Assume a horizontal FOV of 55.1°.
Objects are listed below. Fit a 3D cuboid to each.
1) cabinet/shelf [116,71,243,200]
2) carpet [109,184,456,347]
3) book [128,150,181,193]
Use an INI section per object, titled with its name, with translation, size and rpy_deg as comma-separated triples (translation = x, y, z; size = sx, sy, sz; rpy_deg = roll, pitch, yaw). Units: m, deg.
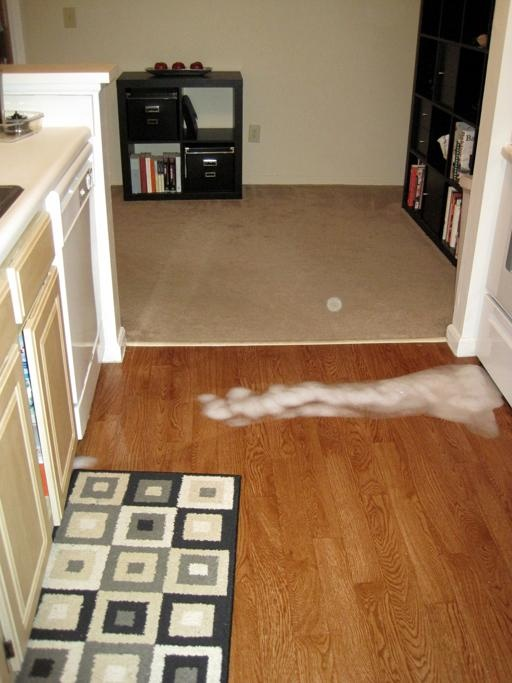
[cabinet/shelf]
translation = -0.619, -1.619, 3.903
size = 0.950, 1.097, 0.387
rpy_deg = -3, 33, -7
[carpet]
translation = 0.120, -0.676, 3.251
size = 2.105, 0.061, 2.556
rpy_deg = 0, 33, -1
[book]
translation = -0.823, -1.363, 3.967
size = 0.264, 0.314, 0.149
rpy_deg = 0, 29, -6
